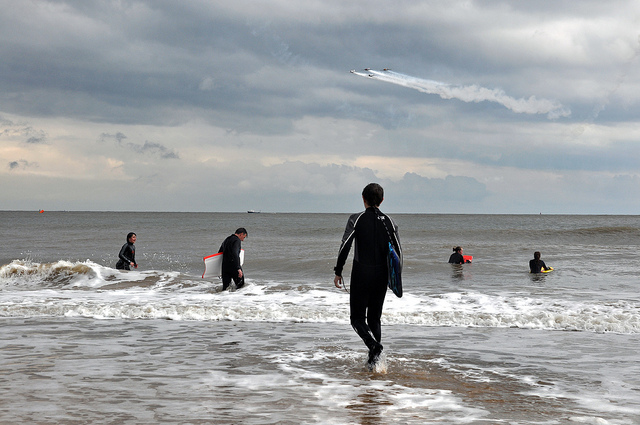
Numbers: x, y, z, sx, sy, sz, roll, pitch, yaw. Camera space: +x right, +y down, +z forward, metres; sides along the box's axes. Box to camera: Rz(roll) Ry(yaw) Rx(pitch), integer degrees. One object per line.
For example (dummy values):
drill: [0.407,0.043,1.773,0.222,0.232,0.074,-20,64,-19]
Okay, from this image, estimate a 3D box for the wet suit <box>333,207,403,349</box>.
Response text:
wet suit: [1.148,1.615,18.578,1.547,3.588,0.938,2,13,-1]

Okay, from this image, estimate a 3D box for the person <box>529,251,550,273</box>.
person: [9.331,2.135,32.901,0.804,1.029,0.475,-7,15,-35]

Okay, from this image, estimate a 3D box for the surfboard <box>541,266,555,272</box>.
surfboard: [9.944,2.488,33.343,0.259,0.175,0.782,-7,-8,30]

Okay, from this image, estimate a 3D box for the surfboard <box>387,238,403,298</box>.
surfboard: [1.801,1.348,18.454,0.377,1.425,0.281,3,13,4]

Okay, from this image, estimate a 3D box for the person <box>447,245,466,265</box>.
person: [6.495,2.050,36.156,0.743,0.969,1.124,1,12,-3]

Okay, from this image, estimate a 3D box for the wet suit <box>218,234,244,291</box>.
wet suit: [-2.979,1.710,26.051,0.818,2.120,0.626,6,14,19]

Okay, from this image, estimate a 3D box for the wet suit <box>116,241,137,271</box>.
wet suit: [-7.166,1.621,28.305,0.647,1.360,1.065,-2,13,-16]
